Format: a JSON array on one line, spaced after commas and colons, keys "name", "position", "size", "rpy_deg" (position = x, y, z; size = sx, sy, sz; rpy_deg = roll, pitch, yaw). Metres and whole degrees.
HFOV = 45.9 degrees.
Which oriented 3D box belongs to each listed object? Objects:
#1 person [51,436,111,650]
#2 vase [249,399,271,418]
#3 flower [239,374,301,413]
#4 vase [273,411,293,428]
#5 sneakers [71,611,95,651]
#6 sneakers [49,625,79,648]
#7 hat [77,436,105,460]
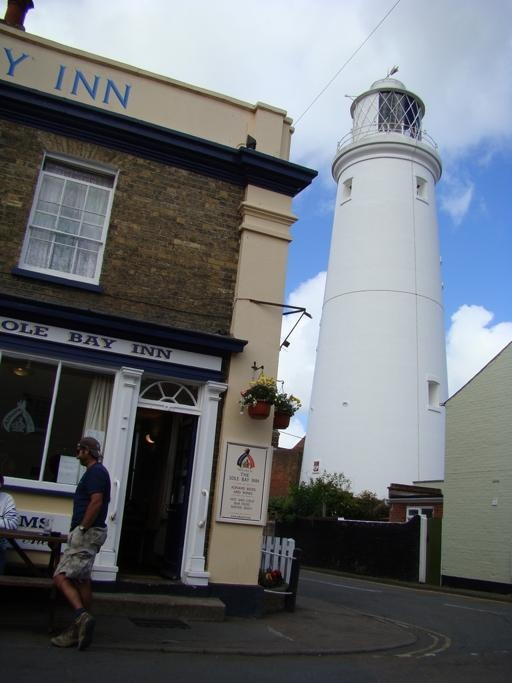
[{"name": "person", "position": [-1.387, 1.567, 4.881], "size": [0.371, 1.601, 0.793], "rpy_deg": [11, -15, -14]}, {"name": "vase", "position": [0.047, 0.929, 8.322], "size": [0.258, 0.160, 0.252], "rpy_deg": [4, -27, -3]}, {"name": "flower", "position": [0.196, 0.710, 8.491], "size": [0.750, 0.539, 0.443], "rpy_deg": [13, -16, -22]}, {"name": "vase", "position": [0.373, 1.144, 8.714], "size": [0.220, 0.224, 0.411], "rpy_deg": [17, -18, -36]}, {"name": "sneakers", "position": [-1.259, 2.119, 4.477], "size": [0.128, 0.341, 0.157], "rpy_deg": [5, 1, -43]}, {"name": "sneakers", "position": [-1.483, 2.259, 4.626], "size": [0.256, 0.174, 0.112], "rpy_deg": [-2, -20, 16]}, {"name": "hat", "position": [-1.495, 0.916, 5.279], "size": [0.252, 0.190, 0.205], "rpy_deg": [13, -12, 5]}]
